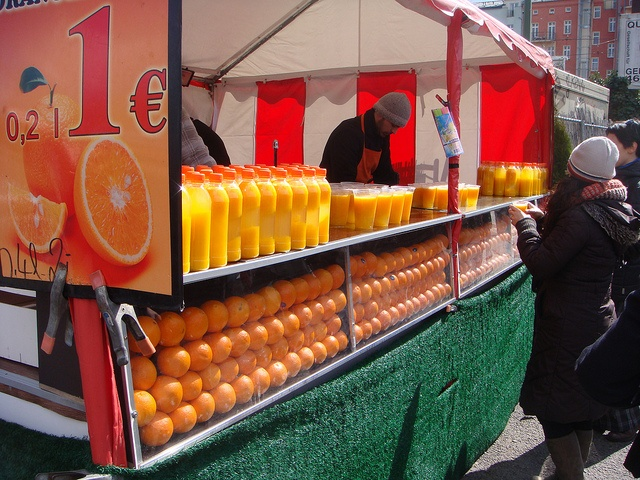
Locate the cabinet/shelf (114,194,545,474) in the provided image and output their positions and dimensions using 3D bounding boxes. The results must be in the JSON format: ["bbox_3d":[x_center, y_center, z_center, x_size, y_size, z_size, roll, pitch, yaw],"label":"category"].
[{"bbox_3d":[0.079,0.435,2.188,0.289,0.703,1.536,-4,9,41],"label":"cabinet/shelf"}]

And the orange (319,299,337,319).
[{"bbox_3d":[0.036,0.306,2.210,0.070,0.109,0.082,-3,12,4],"label":"orange"}]

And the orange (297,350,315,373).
[{"bbox_3d":[-0.058,0.513,2.077,0.066,0.101,0.078,2,11,7],"label":"orange"}]

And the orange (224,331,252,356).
[{"bbox_3d":[-0.312,0.372,1.845,0.075,0.116,0.091,2,13,4],"label":"orange"}]

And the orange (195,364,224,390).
[{"bbox_3d":[-0.397,0.497,1.741,0.066,0.100,0.078,1,17,2],"label":"orange"}]

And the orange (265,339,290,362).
[{"bbox_3d":[-0.167,0.450,1.976,0.060,0.095,0.073,1,10,5],"label":"orange"}]

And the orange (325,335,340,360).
[{"bbox_3d":[0.055,0.489,2.206,0.069,0.108,0.080,0,7,6],"label":"orange"}]

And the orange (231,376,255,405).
[{"bbox_3d":[-0.290,0.567,1.818,0.079,0.119,0.087,2,-16,-16],"label":"orange"}]

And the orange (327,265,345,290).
[{"bbox_3d":[0.086,0.170,2.277,0.080,0.126,0.094,-1,9,4],"label":"orange"}]

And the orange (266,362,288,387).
[{"bbox_3d":[-0.168,0.534,1.964,0.072,0.110,0.084,0,9,4],"label":"orange"}]

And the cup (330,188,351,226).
[{"bbox_3d":[0.114,-0.182,2.624,0.151,0.208,0.169,3,3,-9],"label":"cup"}]

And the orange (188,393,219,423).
[{"bbox_3d":[-0.420,0.609,1.746,0.090,0.116,0.103,8,-10,17],"label":"orange"}]

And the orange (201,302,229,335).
[{"bbox_3d":[-0.381,0.279,1.775,0.085,0.131,0.100,0,9,5],"label":"orange"}]

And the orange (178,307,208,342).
[{"bbox_3d":[-0.445,0.299,1.716,0.084,0.129,0.098,-1,6,4],"label":"orange"}]

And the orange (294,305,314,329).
[{"bbox_3d":[-0.075,0.316,2.116,0.065,0.075,0.092,-17,44,-27],"label":"orange"}]

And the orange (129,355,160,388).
[{"bbox_3d":[-0.597,0.465,1.641,0.084,0.107,0.090,-1,2,44],"label":"orange"}]

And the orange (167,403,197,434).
[{"bbox_3d":[-0.470,0.615,1.659,0.073,0.112,0.087,0,14,6],"label":"orange"}]

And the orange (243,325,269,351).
[{"bbox_3d":[-0.248,0.370,1.892,0.074,0.113,0.087,1,11,4],"label":"orange"}]

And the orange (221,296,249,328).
[{"bbox_3d":[-0.314,0.269,1.835,0.083,0.128,0.097,-1,8,5],"label":"orange"}]

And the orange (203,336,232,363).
[{"bbox_3d":[-0.355,0.401,1.798,0.072,0.088,0.066,3,-16,-42],"label":"orange"}]

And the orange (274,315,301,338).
[{"bbox_3d":[-0.130,0.346,2.014,0.074,0.114,0.087,0,10,2],"label":"orange"}]

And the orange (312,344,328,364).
[{"bbox_3d":[-0.004,0.498,2.133,0.066,0.103,0.078,1,13,4],"label":"orange"}]

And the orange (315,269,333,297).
[{"bbox_3d":[0.025,0.193,2.210,0.083,0.127,0.097,-1,8,3],"label":"orange"}]

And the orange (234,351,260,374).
[{"bbox_3d":[-0.282,0.474,1.853,0.062,0.098,0.076,0,9,4],"label":"orange"}]

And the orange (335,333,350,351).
[{"bbox_3d":[0.103,0.471,2.263,0.062,0.095,0.072,-2,8,5],"label":"orange"}]

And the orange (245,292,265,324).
[{"bbox_3d":[-0.252,0.263,1.899,0.074,0.116,0.086,-3,-1,22],"label":"orange"}]

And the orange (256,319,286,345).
[{"bbox_3d":[-0.198,0.354,1.947,0.079,0.121,0.092,0,10,4],"label":"orange"}]

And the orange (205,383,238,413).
[{"bbox_3d":[-0.356,0.592,1.799,0.075,0.115,0.087,-9,-6,11],"label":"orange"}]

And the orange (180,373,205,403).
[{"bbox_3d":[-0.456,0.535,1.738,0.072,0.111,0.080,3,-19,-19],"label":"orange"}]

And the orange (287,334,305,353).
[{"bbox_3d":[-0.104,0.434,2.050,0.050,0.059,0.077,19,57,32],"label":"orange"}]

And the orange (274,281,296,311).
[{"bbox_3d":[-0.138,0.227,2.039,0.087,0.133,0.101,1,7,5],"label":"orange"}]

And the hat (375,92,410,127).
[{"bbox_3d":[0.580,-1.035,3.839,0.243,0.225,0.237,35,22,35],"label":"hat"}]

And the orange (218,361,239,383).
[{"bbox_3d":[-0.339,0.487,1.793,0.061,0.094,0.068,3,-21,-16],"label":"orange"}]

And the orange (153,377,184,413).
[{"bbox_3d":[-0.514,0.517,1.642,0.090,0.140,0.101,1,-12,-13],"label":"orange"}]

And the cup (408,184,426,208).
[{"bbox_3d":[0.676,-0.304,3.336,0.113,0.198,0.142,0,8,4],"label":"cup"}]

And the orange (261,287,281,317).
[{"bbox_3d":[-0.198,0.250,1.965,0.082,0.126,0.093,-3,-4,-6],"label":"orange"}]

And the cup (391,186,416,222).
[{"bbox_3d":[0.469,-0.215,2.788,0.149,0.203,0.178,0,5,0],"label":"cup"}]

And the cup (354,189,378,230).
[{"bbox_3d":[0.237,-0.183,2.573,0.124,0.218,0.149,2,20,9],"label":"cup"}]

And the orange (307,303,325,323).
[{"bbox_3d":[-0.017,0.318,2.147,0.067,0.103,0.078,0,10,2],"label":"orange"}]

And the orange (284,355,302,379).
[{"bbox_3d":[-0.116,0.517,2.009,0.070,0.109,0.083,3,19,4],"label":"orange"}]

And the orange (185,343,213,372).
[{"bbox_3d":[-0.425,0.408,1.706,0.079,0.121,0.092,0,10,7],"label":"orange"}]

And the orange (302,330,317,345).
[{"bbox_3d":[-0.050,0.421,2.114,0.040,0.072,0.047,3,-10,8],"label":"orange"}]

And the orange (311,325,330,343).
[{"bbox_3d":[-0.014,0.424,2.162,0.048,0.084,0.056,3,-21,3],"label":"orange"}]

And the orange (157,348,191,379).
[{"bbox_3d":[-0.499,0.426,1.701,0.093,0.119,0.103,1,14,-17],"label":"orange"}]

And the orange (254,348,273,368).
[{"bbox_3d":[-0.224,0.464,1.913,0.061,0.097,0.069,0,-2,-5],"label":"orange"}]

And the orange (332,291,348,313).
[{"bbox_3d":[0.090,0.280,2.266,0.072,0.111,0.085,-1,12,1],"label":"orange"}]

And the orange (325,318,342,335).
[{"bbox_3d":[0.064,0.396,2.234,0.063,0.095,0.063,16,-10,-32],"label":"orange"}]

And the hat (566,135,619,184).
[{"bbox_3d":[1.580,-0.459,2.748,0.189,0.220,0.306,5,18,-16],"label":"hat"}]

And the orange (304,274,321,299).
[{"bbox_3d":[-0.028,0.205,2.147,0.079,0.121,0.091,-1,8,5],"label":"orange"}]

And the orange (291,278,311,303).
[{"bbox_3d":[-0.081,0.215,2.092,0.077,0.118,0.089,-1,7,4],"label":"orange"}]

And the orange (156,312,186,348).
[{"bbox_3d":[-0.511,0.308,1.662,0.084,0.129,0.097,-1,5,4],"label":"orange"}]
